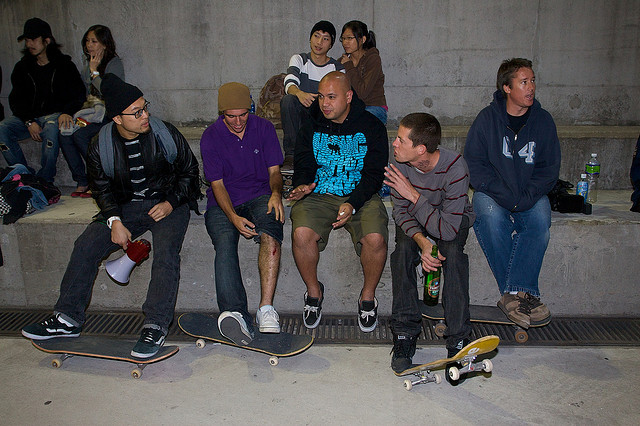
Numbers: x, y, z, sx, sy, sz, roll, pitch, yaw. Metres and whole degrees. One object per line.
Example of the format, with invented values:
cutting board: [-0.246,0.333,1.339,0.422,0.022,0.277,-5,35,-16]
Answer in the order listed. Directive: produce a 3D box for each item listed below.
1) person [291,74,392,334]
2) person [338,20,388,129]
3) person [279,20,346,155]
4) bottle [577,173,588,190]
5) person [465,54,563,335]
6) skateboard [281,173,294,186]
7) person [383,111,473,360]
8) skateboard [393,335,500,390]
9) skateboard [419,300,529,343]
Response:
person: [0.201,-0.105,5.453,0.979,2.535,0.894,0,16,5]
person: [0.491,-1.816,7.004,0.811,1.297,0.787,-14,24,-3]
person: [-0.018,-1.548,6.577,0.874,1.564,0.984,9,18,28]
bottle: [2.940,-0.350,5.942,0.094,0.172,0.136,11,20,37]
person: [1.897,-0.246,5.365,0.918,2.503,0.973,5,17,19]
skateboard: [-0.369,-0.389,6.120,0.131,0.123,0.034,9,27,10]
person: [1.018,0.193,5.030,0.810,2.186,0.720,1,16,7]
skateboard: [1.099,1.280,4.816,0.976,0.222,0.413,-24,-32,25]
skateboard: [1.562,1.032,5.358,1.170,0.211,0.441,6,17,0]
